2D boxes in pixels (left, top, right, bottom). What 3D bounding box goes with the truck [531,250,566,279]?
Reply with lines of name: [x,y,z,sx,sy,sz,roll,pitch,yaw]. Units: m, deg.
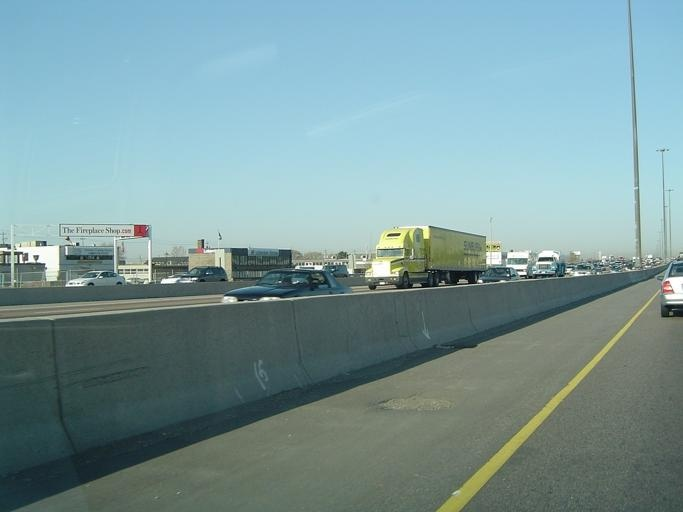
truck: [18.759,0.797,64.923,1.997,2.575,6.021,-2,-7,28]

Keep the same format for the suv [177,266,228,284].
suv: [-9.222,1.238,46.926,1.363,1.115,3.023,-5,-8,33]

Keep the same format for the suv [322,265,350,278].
suv: [-0.486,1.242,72.126,2.743,1.220,1.744,4,-6,-38]

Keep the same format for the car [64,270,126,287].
car: [-16.427,1.488,47.229,1.986,0.902,5.387,1,3,4]

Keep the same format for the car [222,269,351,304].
car: [-1.332,0.738,17.821,1.260,0.651,2.249,-4,-6,38]

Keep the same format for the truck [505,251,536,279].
truck: [15.882,0.792,62.890,2.521,2.499,4.426,-1,-4,22]
